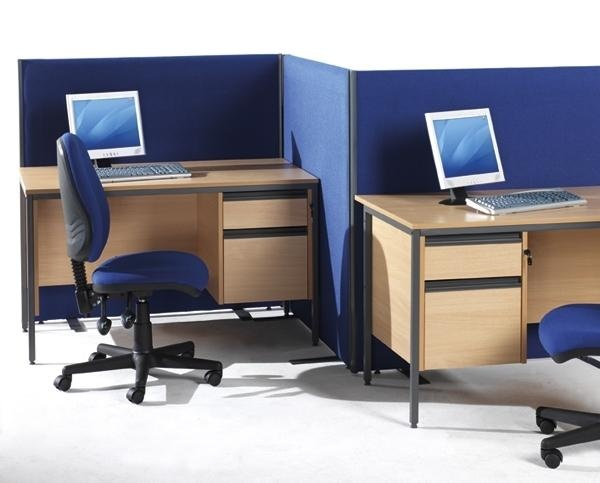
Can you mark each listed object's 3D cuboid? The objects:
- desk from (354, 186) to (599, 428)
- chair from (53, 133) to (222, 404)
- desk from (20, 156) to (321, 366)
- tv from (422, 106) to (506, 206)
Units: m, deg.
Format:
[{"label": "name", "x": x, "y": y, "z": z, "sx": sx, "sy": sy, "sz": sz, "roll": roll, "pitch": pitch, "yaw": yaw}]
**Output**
[{"label": "desk", "x": 0.918, "y": 0.301, "z": 3.224, "sx": 1.110, "sy": 1.074, "sz": 0.726, "roll": -3, "pitch": 10, "yaw": -8}, {"label": "chair", "x": -0.892, "y": 0.144, "z": 3.391, "sx": 0.968, "sy": 1.332, "sz": 0.841, "roll": 1, "pitch": 4, "yaw": -5}, {"label": "desk", "x": -0.737, "y": 0.198, "z": 4.175, "sx": 1.868, "sy": 0.990, "sz": 0.994, "roll": -3, "pitch": -9, "yaw": 8}, {"label": "tv", "x": 0.871, "y": -0.463, "z": 3.284, "sx": 0.582, "sy": 0.619, "sz": 0.233, "roll": -7, "pitch": 7, "yaw": -27}]
